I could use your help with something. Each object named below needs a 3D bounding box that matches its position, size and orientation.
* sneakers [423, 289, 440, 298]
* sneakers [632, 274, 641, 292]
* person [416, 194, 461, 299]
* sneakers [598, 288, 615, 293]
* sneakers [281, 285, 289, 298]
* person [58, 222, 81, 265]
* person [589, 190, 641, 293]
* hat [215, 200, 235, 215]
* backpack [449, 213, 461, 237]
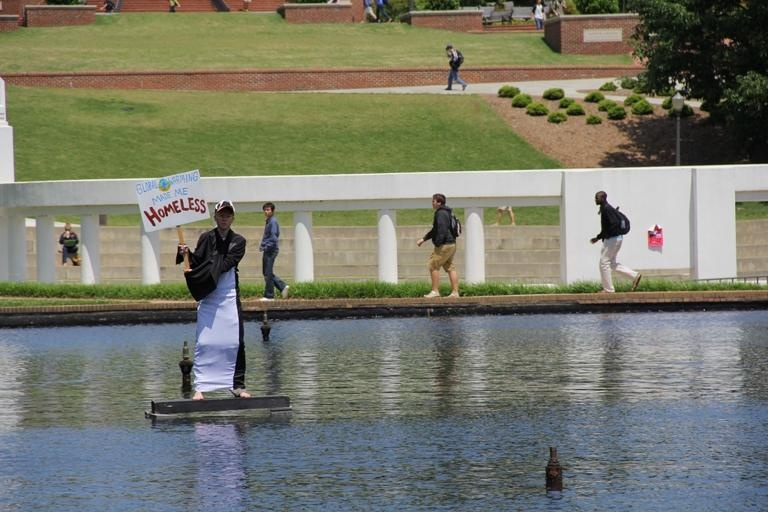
[{"bbox_3d":[1.549,1.160,70.521,0.417,0.180,0.227,1,1,15],"label":"sneakers"},{"bbox_3d":[8.118,0.775,70.584,0.289,0.588,0.205,10,37,6],"label":"sneakers"},{"bbox_3d":[1.838,-0.420,70.448,1.215,3.331,0.911,-3,4,0],"label":"person"},{"bbox_3d":[7.130,1.061,70.528,0.480,0.182,0.155,7,4,12],"label":"sneakers"},{"bbox_3d":[-3.200,1.099,70.653,0.192,0.407,0.184,7,18,1],"label":"sneakers"},{"bbox_3d":[-11.136,-0.481,77.605,0.676,1.483,0.970,-3,4,-9],"label":"person"},{"bbox_3d":[7.312,-0.539,70.501,1.332,3.248,0.876,-2,4,5],"label":"person"},{"bbox_3d":[-4.511,-1.433,61.537,0.498,0.368,0.418,-3,4,-10],"label":"hat"},{"bbox_3d":[2.345,-1.047,70.265,0.321,0.614,0.466,-1,5,-12],"label":"backpack"}]
